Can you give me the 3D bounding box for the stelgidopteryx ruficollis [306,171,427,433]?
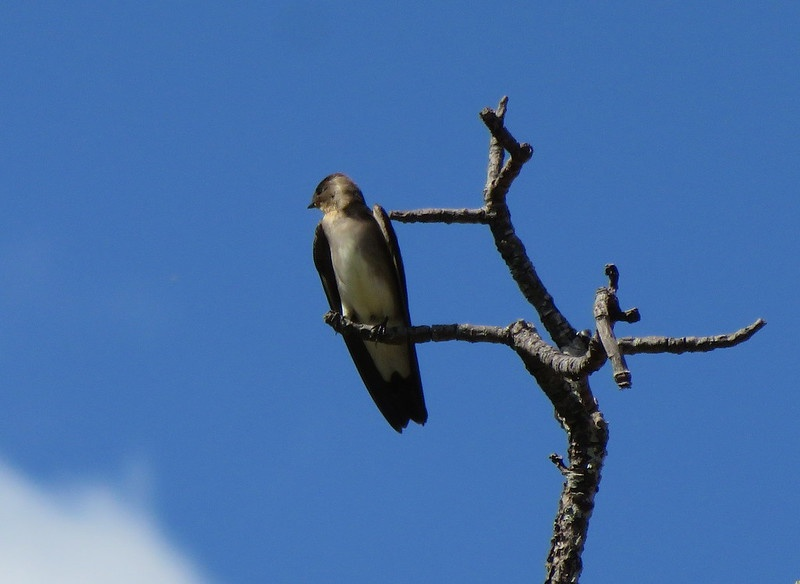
[{"bbox_3d":[-0.191,0.082,12.621,0.547,0.726,1.774,-22,-88,28],"label":"stelgidopteryx ruficollis"}]
